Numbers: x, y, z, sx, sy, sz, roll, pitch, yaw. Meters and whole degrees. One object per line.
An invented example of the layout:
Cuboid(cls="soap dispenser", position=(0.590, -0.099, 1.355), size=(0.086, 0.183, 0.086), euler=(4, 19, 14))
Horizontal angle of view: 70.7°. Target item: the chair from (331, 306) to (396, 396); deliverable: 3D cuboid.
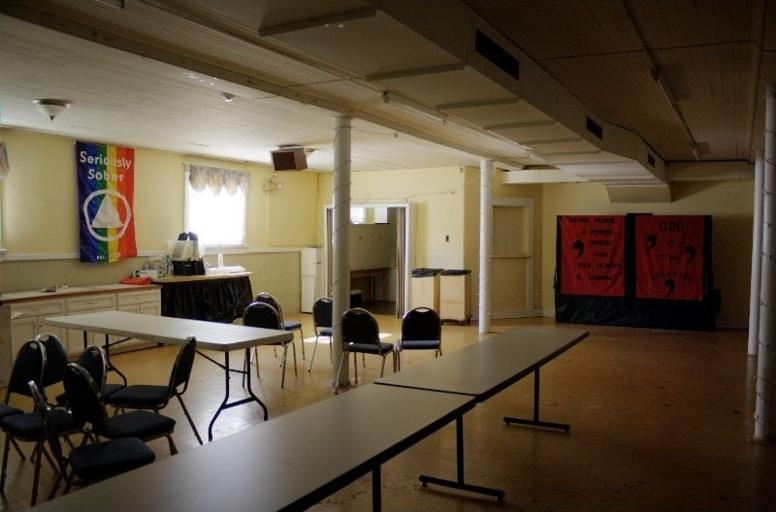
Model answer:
Cuboid(cls="chair", position=(-0.291, 1.203, 7.166), size=(0.721, 1.095, 0.742), euler=(0, 3, 8))

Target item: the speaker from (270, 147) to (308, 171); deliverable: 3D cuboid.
Cuboid(cls="speaker", position=(-1.767, -1.685, 9.467), size=(0.615, 0.443, 0.410), euler=(1, 5, 23))

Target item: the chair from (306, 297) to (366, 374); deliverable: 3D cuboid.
Cuboid(cls="chair", position=(-0.856, 1.169, 8.215), size=(0.775, 1.005, 0.767), euler=(5, -5, 0))

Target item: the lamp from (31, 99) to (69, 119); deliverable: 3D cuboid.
Cuboid(cls="lamp", position=(-4.333, -1.900, 6.945), size=(0.255, 0.155, 0.249), euler=(-1, -2, -44))

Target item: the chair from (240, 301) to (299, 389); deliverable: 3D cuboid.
Cuboid(cls="chair", position=(-1.694, 1.188, 7.668), size=(0.810, 1.196, 0.809), euler=(-3, 5, -38))

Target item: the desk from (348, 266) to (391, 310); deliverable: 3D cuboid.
Cuboid(cls="desk", position=(-0.444, 0.768, 13.478), size=(1.096, 0.623, 0.366), euler=(-2, 1, -31))

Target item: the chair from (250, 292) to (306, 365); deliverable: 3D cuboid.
Cuboid(cls="chair", position=(-1.766, 1.121, 8.526), size=(0.652, 1.153, 0.734), euler=(-1, 5, 16))
